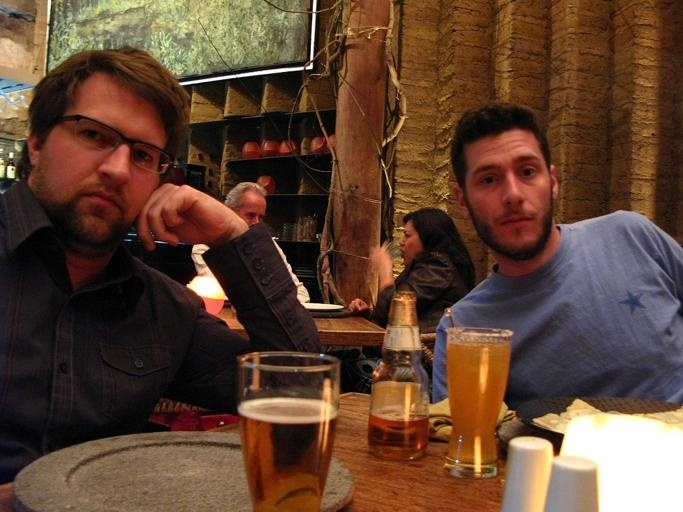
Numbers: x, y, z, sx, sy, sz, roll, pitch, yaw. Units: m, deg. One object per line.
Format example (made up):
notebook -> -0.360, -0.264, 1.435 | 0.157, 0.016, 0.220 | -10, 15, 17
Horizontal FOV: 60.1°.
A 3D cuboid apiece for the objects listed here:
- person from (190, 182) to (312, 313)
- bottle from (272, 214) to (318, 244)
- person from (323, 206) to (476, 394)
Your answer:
person -> -0.704, -0.068, 4.645 | 1.001, 1.023, 0.812 | -1, 26, -30
bottle -> -0.558, -0.287, 6.613 | 0.543, 0.164, 0.369 | 0, 0, 11
person -> 0.221, 0.160, 2.538 | 0.669, 0.425, 1.008 | 3, 40, 6
